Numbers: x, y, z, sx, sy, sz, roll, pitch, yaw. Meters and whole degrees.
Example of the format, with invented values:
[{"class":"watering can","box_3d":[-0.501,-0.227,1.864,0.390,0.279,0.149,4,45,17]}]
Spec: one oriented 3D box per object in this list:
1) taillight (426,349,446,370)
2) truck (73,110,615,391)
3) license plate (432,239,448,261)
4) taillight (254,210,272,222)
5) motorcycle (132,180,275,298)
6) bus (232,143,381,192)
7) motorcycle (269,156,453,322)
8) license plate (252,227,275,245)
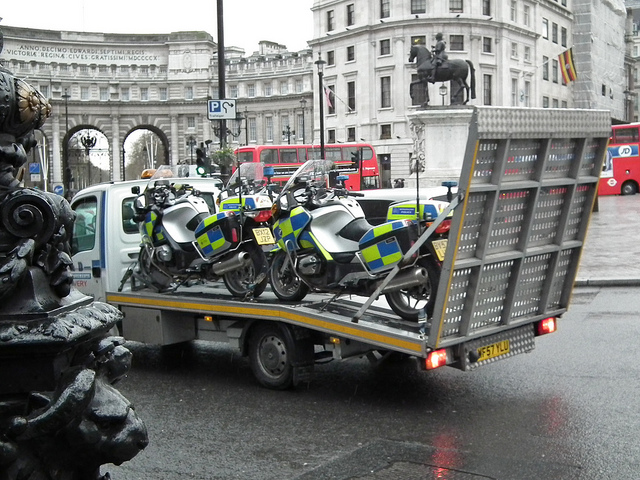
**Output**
[{"class":"taillight","box_3d":[1.064,1.088,5.958,0.257,0.162,0.052,-5,5,-39]},{"class":"truck","box_3d":[-0.420,0.003,8.604,7.414,3.143,3.243,6,5,34]},{"class":"license plate","box_3d":[1.227,0.098,6.597,0.201,0.212,0.079,-5,5,-36]},{"class":"taillight","box_3d":[-0.708,-0.300,7.977,0.178,0.143,0.134,15,27,38]},{"class":"motorcycle","box_3d":[-1.690,-0.038,8.658,2.512,1.532,0.960,4,12,35]},{"class":"bus","box_3d":[-0.235,-4.760,46.716,8.824,4.250,2.433,-4,8,-9]},{"class":"motorcycle","box_3d":[0.348,-0.005,7.467,2.615,1.624,0.945,7,6,39]},{"class":"license plate","box_3d":[-0.708,-0.076,8.000,0.052,0.212,0.224,-26,10,41]}]
